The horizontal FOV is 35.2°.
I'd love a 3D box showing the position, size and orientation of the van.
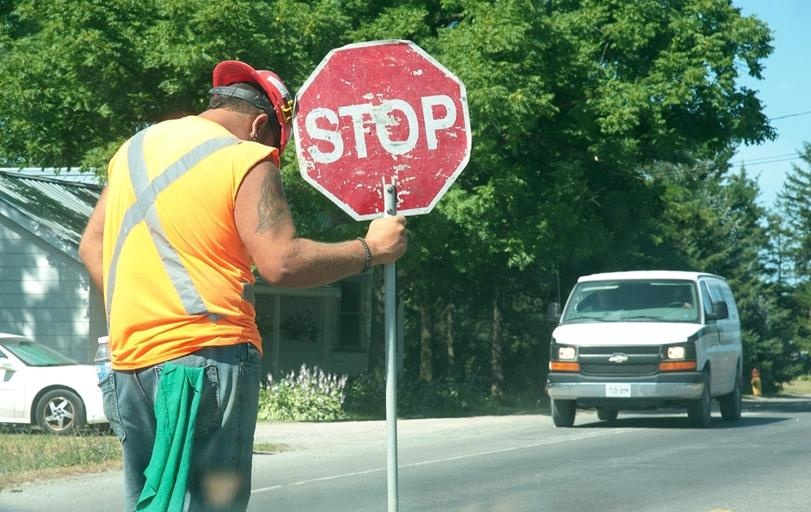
[{"bbox_3d":[5.926,1.971,29.368,2.861,2.183,4.765,-4,-10,21],"label":"van"}]
